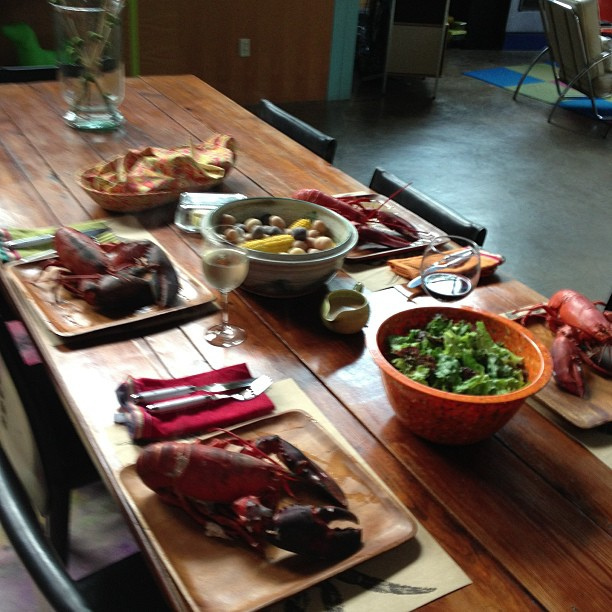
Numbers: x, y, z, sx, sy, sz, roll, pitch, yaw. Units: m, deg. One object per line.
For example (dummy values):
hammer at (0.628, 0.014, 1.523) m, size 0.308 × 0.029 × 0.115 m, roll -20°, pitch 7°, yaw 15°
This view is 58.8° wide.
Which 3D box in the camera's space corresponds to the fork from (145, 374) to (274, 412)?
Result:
fork at (-0.118, 0.129, 0.896) m, size 0.286 × 0.021 × 0.052 m, roll -4°, pitch 21°, yaw -27°

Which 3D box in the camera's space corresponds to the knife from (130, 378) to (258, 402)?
knife at (-0.183, 0.135, 0.871) m, size 0.218 × 0.013 × 0.026 m, roll -3°, pitch 23°, yaw -20°

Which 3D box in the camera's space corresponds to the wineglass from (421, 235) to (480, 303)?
wineglass at (0.308, -0.073, 1.203) m, size 0.158 × 0.105 × 0.162 m, roll 0°, pitch -3°, yaw 15°

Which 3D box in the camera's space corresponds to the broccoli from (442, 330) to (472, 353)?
broccoli at (0.227, 0.052, 0.834) m, size 0.026 × 0.016 × 0.050 m, roll -15°, pitch 27°, yaw -29°

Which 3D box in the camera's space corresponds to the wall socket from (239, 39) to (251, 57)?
wall socket at (-0.511, -2.164, 4.557) m, size 0.102 × 0.135 × 0.041 m, roll -4°, pitch 39°, yaw -13°

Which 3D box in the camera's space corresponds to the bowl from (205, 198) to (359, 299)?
bowl at (-0.045, -0.153, 1.218) m, size 0.295 × 0.098 × 0.234 m, roll -5°, pitch 46°, yaw -21°

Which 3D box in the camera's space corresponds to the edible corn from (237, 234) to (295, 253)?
edible corn at (-0.072, -0.133, 1.149) m, size 0.135 × 0.030 × 0.036 m, roll -9°, pitch 18°, yaw -31°

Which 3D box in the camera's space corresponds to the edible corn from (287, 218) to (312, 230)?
edible corn at (-0.013, -0.193, 1.266) m, size 0.053 × 0.016 × 0.026 m, roll -10°, pitch 31°, yaw -16°

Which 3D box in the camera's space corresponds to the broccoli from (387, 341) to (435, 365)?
broccoli at (0.162, 0.071, 0.830) m, size 0.054 × 0.013 × 0.029 m, roll 15°, pitch 44°, yaw 7°

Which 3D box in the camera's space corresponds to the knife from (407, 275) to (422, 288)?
knife at (0.251, -0.057, 1.249) m, size 0.014 × 0.015 × 0.055 m, roll 50°, pitch 35°, yaw 6°

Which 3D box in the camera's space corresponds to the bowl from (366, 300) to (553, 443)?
bowl at (0.232, 0.106, 0.856) m, size 0.255 × 0.139 × 0.245 m, roll 3°, pitch 31°, yaw -2°

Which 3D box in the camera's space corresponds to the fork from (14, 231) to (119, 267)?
fork at (-0.519, -0.132, 1.240) m, size 0.060 × 0.017 × 0.257 m, roll 20°, pitch 33°, yaw 26°
